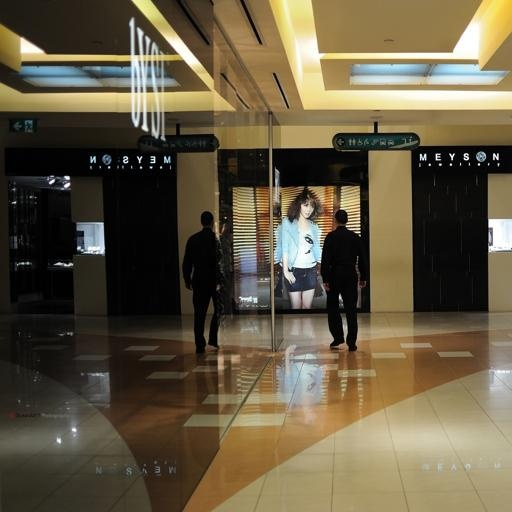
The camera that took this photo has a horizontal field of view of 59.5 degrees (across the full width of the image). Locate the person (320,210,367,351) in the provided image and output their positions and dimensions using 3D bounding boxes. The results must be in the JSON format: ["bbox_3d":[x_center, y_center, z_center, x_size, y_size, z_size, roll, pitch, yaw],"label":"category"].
[{"bbox_3d":[1.266,0.330,6.472,0.653,2.001,0.495,-1,-1,6],"label":"person"}]
